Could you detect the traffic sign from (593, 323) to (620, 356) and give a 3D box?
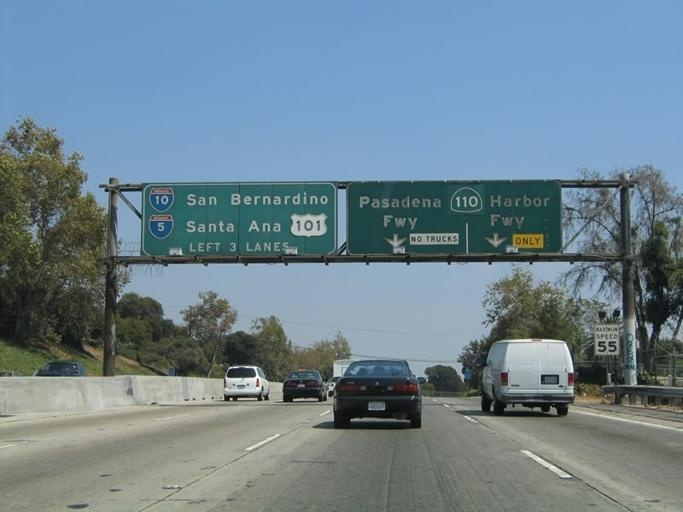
[{"bbox_3d":[12.590,3.917,49.632,1.144,1.534,1.363,-4,-10,14],"label":"traffic sign"}]

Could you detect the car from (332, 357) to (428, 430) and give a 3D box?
[{"bbox_3d":[1.339,4.764,36.749,3.169,3.738,9.159,-1,-6,5],"label":"car"}]

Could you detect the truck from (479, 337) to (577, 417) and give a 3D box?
[{"bbox_3d":[7.309,4.770,41.178,2.782,3.445,5.330,1,-7,5],"label":"truck"}]
